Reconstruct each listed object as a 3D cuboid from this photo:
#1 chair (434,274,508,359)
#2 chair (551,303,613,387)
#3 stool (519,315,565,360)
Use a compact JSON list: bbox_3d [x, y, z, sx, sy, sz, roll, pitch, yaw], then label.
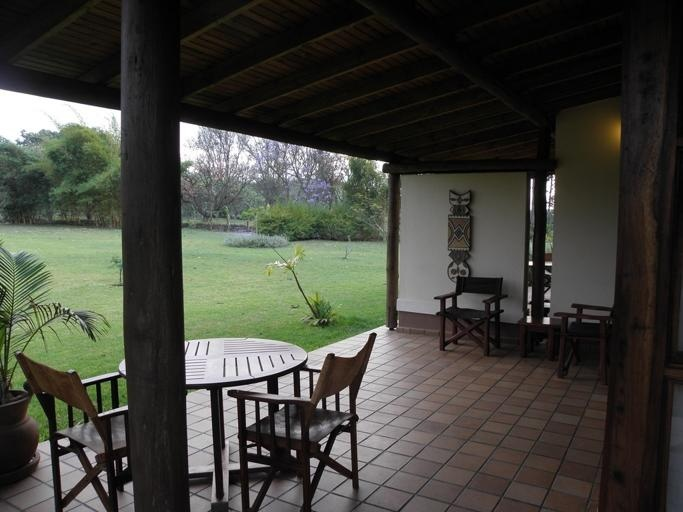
[{"bbox_3d":[2.159,0.940,7.750,0.982,1.135,1.266,2,6,28],"label":"chair"},{"bbox_3d":[3.342,1.047,6.519,0.893,0.963,1.210,0,2,21],"label":"chair"},{"bbox_3d":[3.024,1.164,7.219,0.696,0.716,0.705,0,-2,30],"label":"stool"}]
